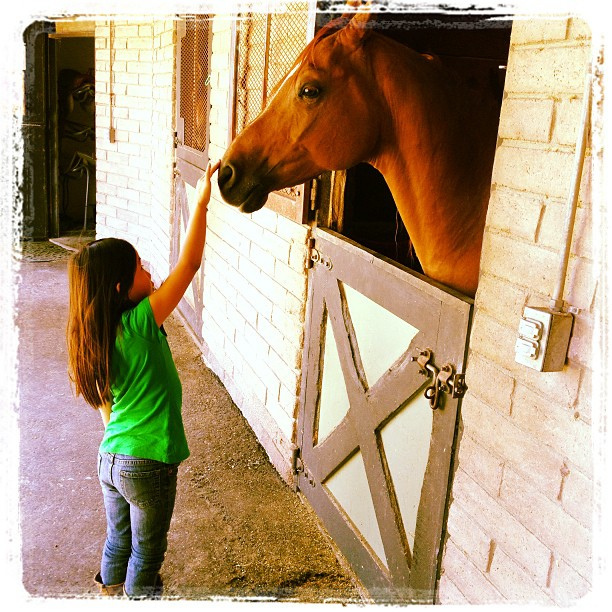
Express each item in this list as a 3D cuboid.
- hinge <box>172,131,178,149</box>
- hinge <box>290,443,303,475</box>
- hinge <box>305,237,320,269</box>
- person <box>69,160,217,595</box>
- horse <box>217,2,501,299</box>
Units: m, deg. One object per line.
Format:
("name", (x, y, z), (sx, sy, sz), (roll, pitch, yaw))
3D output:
("hinge", (-1.414, -1.797, 5.765), (0.031, 0.182, 0.141), (2, -7, -10))
("hinge", (-0.051, 0.879, 3.013), (0.031, 0.185, 0.119), (-7, 15, -32))
("hinge", (0.027, -0.261, 2.709), (0.080, 0.138, 0.116), (5, 10, -18))
("person", (-0.553, 0.367, 1.904), (0.499, 1.378, 0.402), (-6, 14, -29))
("horse", (0.200, -0.549, 1.938), (0.923, 0.896, 0.319), (7, 14, 24))
